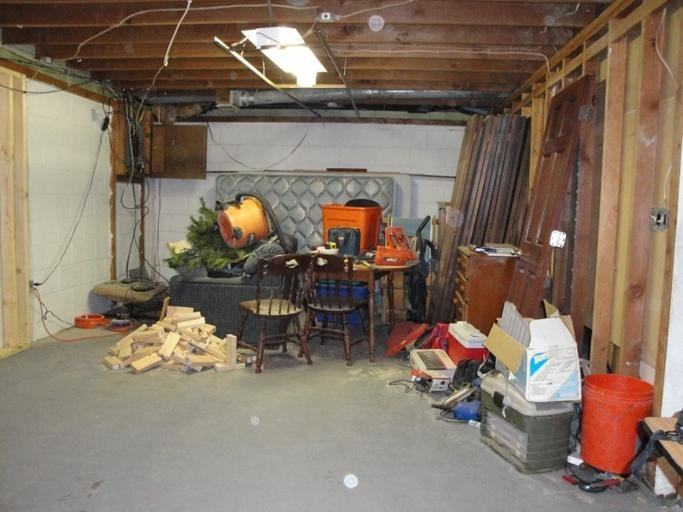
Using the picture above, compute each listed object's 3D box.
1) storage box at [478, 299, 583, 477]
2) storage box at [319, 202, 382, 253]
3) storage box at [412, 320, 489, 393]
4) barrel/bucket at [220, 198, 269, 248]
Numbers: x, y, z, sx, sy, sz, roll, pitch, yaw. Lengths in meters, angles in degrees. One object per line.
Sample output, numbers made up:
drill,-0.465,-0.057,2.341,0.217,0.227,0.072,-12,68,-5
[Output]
storage box,1.314,0.903,4.074,0.428,1.058,0.641,-2,7,-29
storage box,0.151,-0.344,6.593,0.734,0.649,0.512,0,5,19
storage box,0.944,0.871,5.070,0.603,0.437,0.603,-1,12,2
barrel/bucket,-1.136,-0.379,6.616,0.417,0.422,0.344,29,32,35
